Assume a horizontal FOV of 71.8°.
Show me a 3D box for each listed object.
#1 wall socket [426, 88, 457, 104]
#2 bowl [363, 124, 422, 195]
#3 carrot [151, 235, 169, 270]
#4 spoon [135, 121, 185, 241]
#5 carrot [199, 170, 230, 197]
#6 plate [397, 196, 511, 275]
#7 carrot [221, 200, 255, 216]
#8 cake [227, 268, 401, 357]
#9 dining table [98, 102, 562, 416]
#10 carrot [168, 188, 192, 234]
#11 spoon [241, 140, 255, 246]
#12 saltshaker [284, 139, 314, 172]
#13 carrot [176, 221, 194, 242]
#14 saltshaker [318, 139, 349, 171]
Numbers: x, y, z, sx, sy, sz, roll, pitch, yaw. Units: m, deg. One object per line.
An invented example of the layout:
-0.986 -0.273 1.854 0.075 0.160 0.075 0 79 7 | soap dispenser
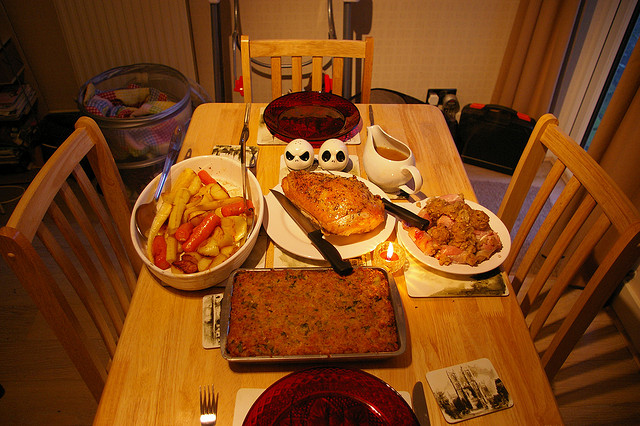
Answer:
0.925 -0.912 3.420 0.225 0.167 0.054 1 2 9 | wall socket
0.261 -0.194 1.765 0.171 0.142 0.317 -12 61 -15 | bowl
-0.553 0.133 1.522 0.055 0.126 0.032 19 34 25 | carrot
-0.620 -0.126 1.708 0.100 0.060 0.454 19 59 -18 | spoon
-0.404 -0.110 1.676 0.137 0.021 0.033 42 87 16 | carrot
0.447 0.096 1.710 0.427 0.263 0.402 -4 34 -10 | plate
-0.294 -0.016 1.578 0.100 0.035 0.057 -4 71 -5 | carrot
-0.023 0.306 1.392 0.519 0.088 0.255 0 44 -3 | cake
0.036 0.086 1.579 1.364 0.421 1.227 2 44 -1 | dining table
-0.531 -0.026 1.700 0.076 0.281 0.073 27 68 -3 | carrot
-0.258 -0.058 1.548 0.040 0.080 0.315 -4 81 -4 | spoon
-0.082 -0.230 1.769 0.104 0.117 0.134 1 23 0 | saltshaker
-0.470 0.065 1.537 0.034 0.032 0.072 19 34 -1 | carrot
0.051 -0.234 1.834 0.107 0.137 0.118 3 25 -1 | saltshaker
